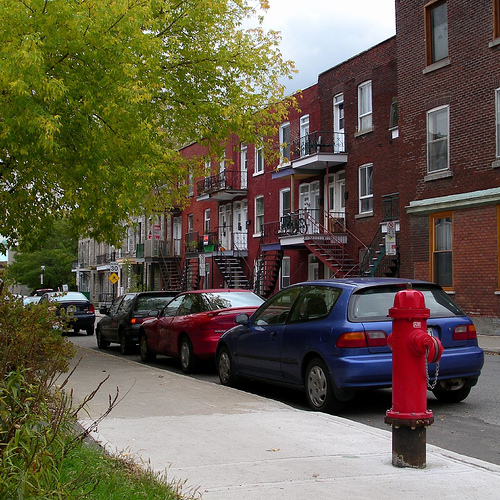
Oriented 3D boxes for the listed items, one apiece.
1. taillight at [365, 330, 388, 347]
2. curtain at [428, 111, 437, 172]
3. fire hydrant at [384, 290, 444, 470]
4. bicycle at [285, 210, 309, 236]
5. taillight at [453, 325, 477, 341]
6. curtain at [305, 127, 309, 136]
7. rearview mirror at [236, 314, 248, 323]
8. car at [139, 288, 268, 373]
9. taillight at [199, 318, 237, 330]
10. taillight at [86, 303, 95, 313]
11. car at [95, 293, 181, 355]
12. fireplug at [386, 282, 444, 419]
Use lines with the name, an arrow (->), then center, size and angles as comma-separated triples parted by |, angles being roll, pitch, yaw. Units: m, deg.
taillight -> 1.447, 1.020, 7.501 | 0.231, 0.190, 0.177 | 0, 0, -22
curtain -> 5.856, -3.482, 21.005 | 0.082, 1.903, 0.389 | 3, -3, -25
fire hydrant -> 1.225, 0.979, 4.902 | 0.395, 1.331, 0.218 | 1, -3, 18
bicycle -> 1.965, -1.079, 27.446 | 0.245, 0.916, 1.033 | 0, 0, -28
taillight -> 2.638, 1.029, 8.055 | 0.213, 0.160, 0.223 | -1, 0, -20
curtain -> 2.597, -5.463, 29.905 | 0.079, 0.300, 0.491 | 2, -3, -10
rearview mirror -> -0.120, 1.038, 9.791 | 0.174, 0.127, 0.158 | 3, -3, -9
car -> -1.092, 1.499, 12.692 | 1.192, 1.038, 2.724 | 1, -1, -24
taillight -> -0.578, 1.314, 11.487 | 0.454, 0.128, 0.337 | -1, -2, -24
taillight -> -6.062, 2.232, 24.909 | 0.211, 0.212, 0.391 | 0, 5, -14
car -> -3.128, 1.833, 17.023 | 1.330, 1.007, 2.502 | 1, 0, -25
fireplug -> 1.233, 0.791, 4.905 | 0.397, 0.956, 0.214 | 1, -3, 13
